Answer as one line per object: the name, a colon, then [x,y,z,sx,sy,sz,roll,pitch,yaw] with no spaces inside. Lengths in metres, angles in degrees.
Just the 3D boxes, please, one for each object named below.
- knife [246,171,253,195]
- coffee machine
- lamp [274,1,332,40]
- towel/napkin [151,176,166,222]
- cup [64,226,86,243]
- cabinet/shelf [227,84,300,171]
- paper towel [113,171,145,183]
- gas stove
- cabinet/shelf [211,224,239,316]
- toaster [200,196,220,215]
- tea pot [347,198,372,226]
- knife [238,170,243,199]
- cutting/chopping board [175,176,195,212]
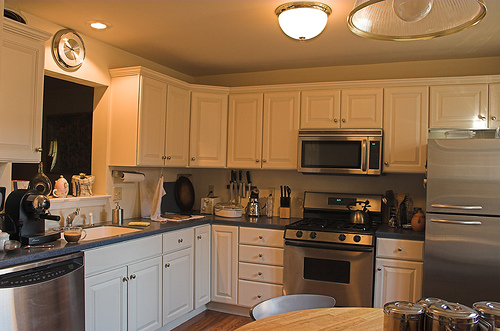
knife: [-0.021,0.226,4.898,0.052,0.348,0.040,-2,4,7]
coffee machine: [-1.817,0.430,3.066,0.584,0.493,0.374,0,-2,20]
lamp: [0.467,-1.274,3.242,0.489,0.160,0.257,-1,0,13]
towel/napkin: [-1.115,0.377,4.361,0.162,0.402,0.452,-1,0,-14]
cup: [-1.507,0.601,3.166,0.131,0.096,0.160,-7,-9,41]
cabinet/shelf: [0.191,-0.467,4.537,1.220,1.019,0.567,0,-1,21]
paper towel: [-1.391,0.119,4.167,0.153,0.118,0.316,-1,0,31]
gas stove: [0.961,0.658,4.258,1.003,0.559,0.671,-1,10,33]
cabinet/shelf: [-0.307,1.160,4.338,0.322,0.626,0.082,-1,1,24]
toaster: [-0.548,0.521,4.768,0.184,0.192,0.237,-2,-7,29]
tea pot: [1.270,0.547,4.296,0.264,0.262,0.248,-1,0,0]
knife: [-0.127,0.246,4.942,0.065,0.249,0.021,-1,1,4]
cutting/chopping board: [-0.893,0.389,4.937,0.060,0.386,0.413,-8,-25,27]
